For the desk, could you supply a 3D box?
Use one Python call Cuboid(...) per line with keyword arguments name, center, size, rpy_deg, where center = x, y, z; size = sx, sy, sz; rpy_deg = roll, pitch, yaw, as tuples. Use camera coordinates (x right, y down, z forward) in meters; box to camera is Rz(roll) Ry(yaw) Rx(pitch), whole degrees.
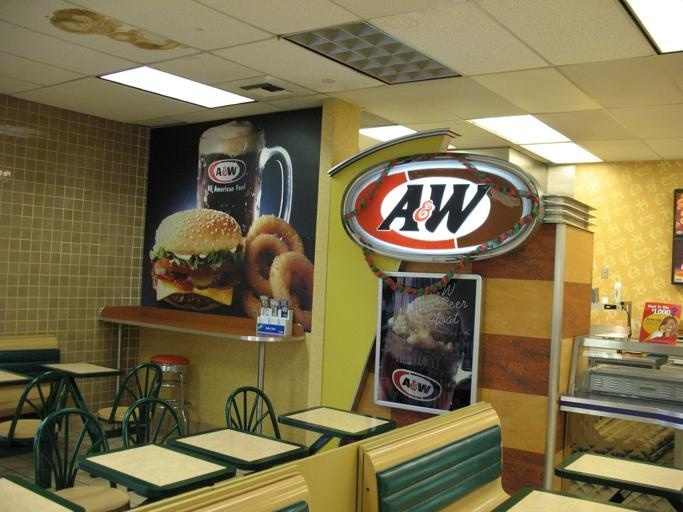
Cuboid(name="desk", center=(-1.561, 1.167, 6.448), size=(0.642, 0.862, 2.610), rpy_deg=(-2, -13, 31))
